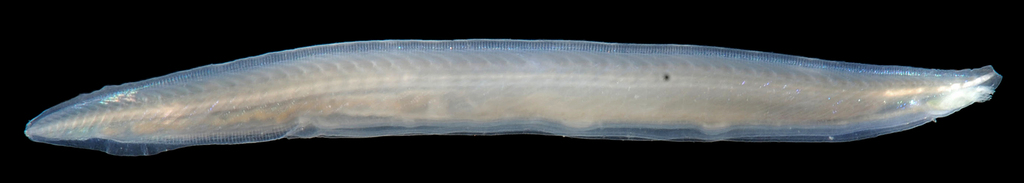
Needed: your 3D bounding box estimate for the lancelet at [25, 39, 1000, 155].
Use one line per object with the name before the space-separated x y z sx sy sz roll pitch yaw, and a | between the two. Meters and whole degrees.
lancelet | 0.041 0.276 38.142 39.857 4.314 4.792 -1 -55 2
